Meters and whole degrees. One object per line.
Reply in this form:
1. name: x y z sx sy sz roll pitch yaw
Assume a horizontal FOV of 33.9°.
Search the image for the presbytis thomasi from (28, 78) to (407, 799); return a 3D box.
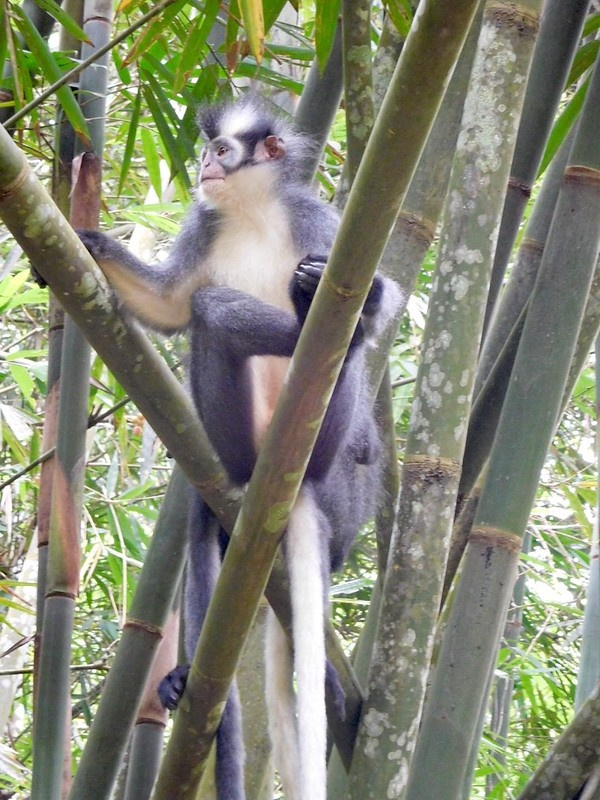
1. presbytis thomasi: -0.086 0.038 1.753 0.696 1.031 0.449 -2 7 9
